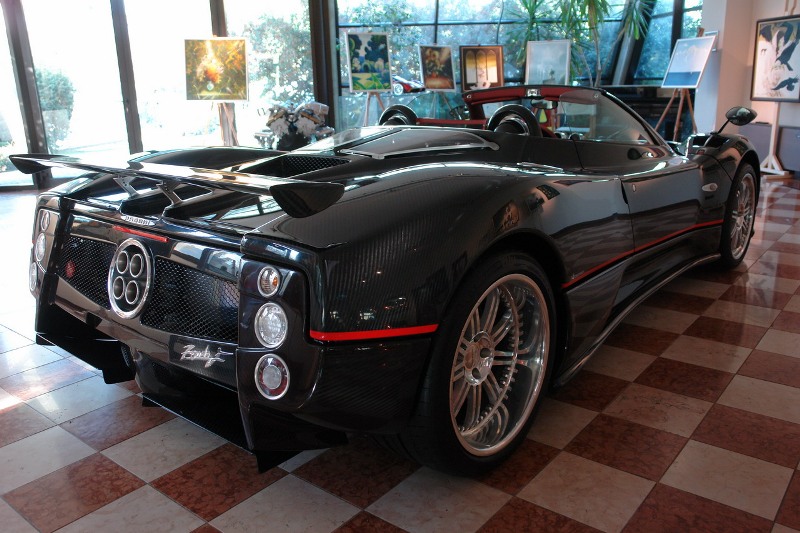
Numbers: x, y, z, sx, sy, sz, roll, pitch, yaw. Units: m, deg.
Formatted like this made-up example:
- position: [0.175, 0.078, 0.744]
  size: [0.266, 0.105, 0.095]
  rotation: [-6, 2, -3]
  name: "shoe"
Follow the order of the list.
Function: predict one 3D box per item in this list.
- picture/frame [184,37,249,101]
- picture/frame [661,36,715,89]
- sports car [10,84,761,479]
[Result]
- position: [-2.524, -2.711, 6.514]
  size: [0.825, 0.793, 0.080]
  rotation: [7, 3, 2]
  name: "picture/frame"
- position: [4.589, -3.276, 7.608]
  size: [0.603, 0.788, 0.706]
  rotation: [15, 27, 37]
  name: "picture/frame"
- position: [0.658, -0.514, 3.270]
  size: [4.276, 1.096, 2.363]
  rotation: [-20, 28, -41]
  name: "sports car"
